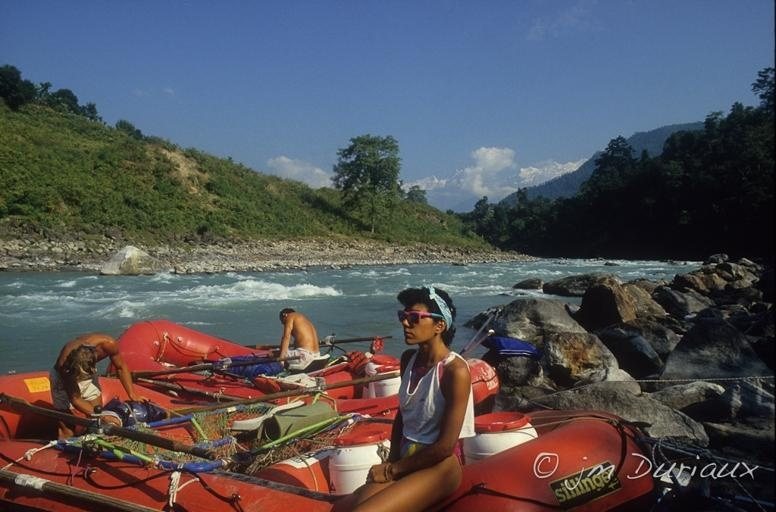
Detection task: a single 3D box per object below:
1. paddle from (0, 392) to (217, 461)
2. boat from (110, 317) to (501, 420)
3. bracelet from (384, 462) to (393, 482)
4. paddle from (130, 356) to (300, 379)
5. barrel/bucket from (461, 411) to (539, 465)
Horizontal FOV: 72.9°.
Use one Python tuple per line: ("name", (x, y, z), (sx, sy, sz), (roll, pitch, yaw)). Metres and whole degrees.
("paddle", (-3.454, 2.114, 6.361), (3.295, 0.325, 0.308), (6, 36, 21))
("boat", (-2.072, 1.952, 8.700), (4.265, 0.881, 2.380), (2, -2, 0))
("bracelet", (0.000, 1.968, 4.700), (0.059, 0.120, 0.106), (1, 13, -17))
("paddle", (-2.774, 1.802, 8.428), (2.382, 0.293, 0.716), (3, -25, -22))
("barrel/bucket", (1.211, 2.027, 5.909), (0.631, 0.576, 0.603), (-7, -25, -3))
